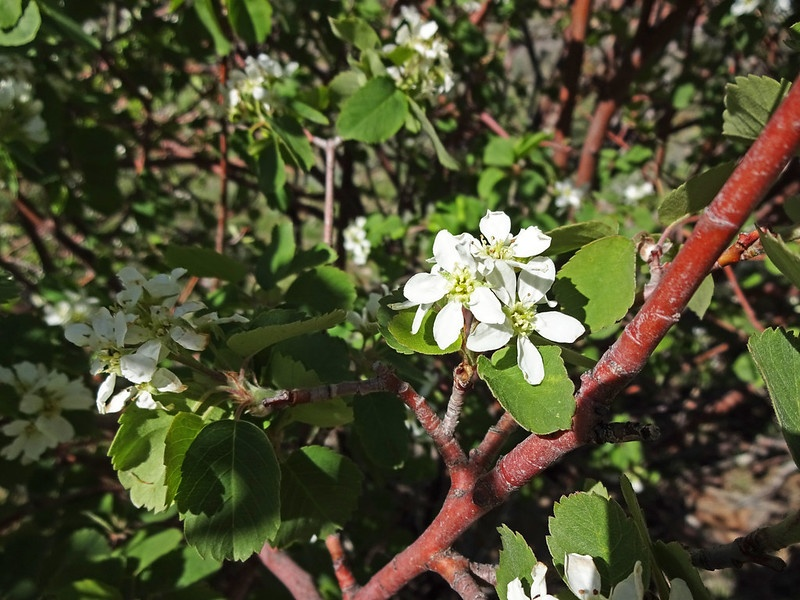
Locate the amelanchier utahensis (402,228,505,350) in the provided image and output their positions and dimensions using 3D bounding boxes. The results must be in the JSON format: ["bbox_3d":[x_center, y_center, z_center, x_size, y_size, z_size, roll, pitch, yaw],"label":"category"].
[{"bbox_3d":[0.163,-0.031,2.236,0.353,0.337,0.134,14,6,15],"label":"amelanchier utahensis"}]
